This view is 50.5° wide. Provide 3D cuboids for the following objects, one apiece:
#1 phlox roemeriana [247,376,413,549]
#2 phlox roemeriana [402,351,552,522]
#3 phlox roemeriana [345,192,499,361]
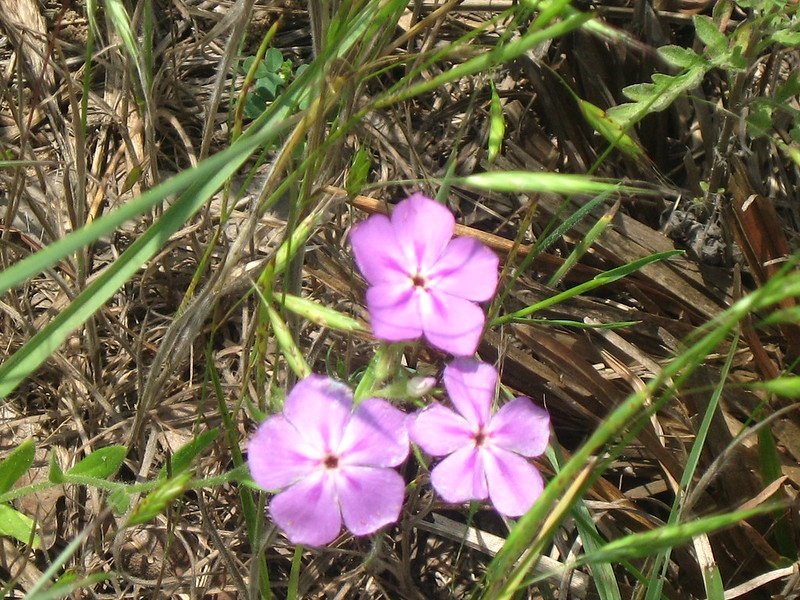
[{"bbox_3d":[-0.182,0.407,2.153,0.393,0.152,0.393,2,64,0],"label":"phlox roemeriana"},{"bbox_3d":[0.209,0.370,2.263,0.369,0.136,0.365,11,64,5],"label":"phlox roemeriana"},{"bbox_3d":[0.063,-0.065,2.228,0.386,0.144,0.424,-2,64,-2],"label":"phlox roemeriana"}]
